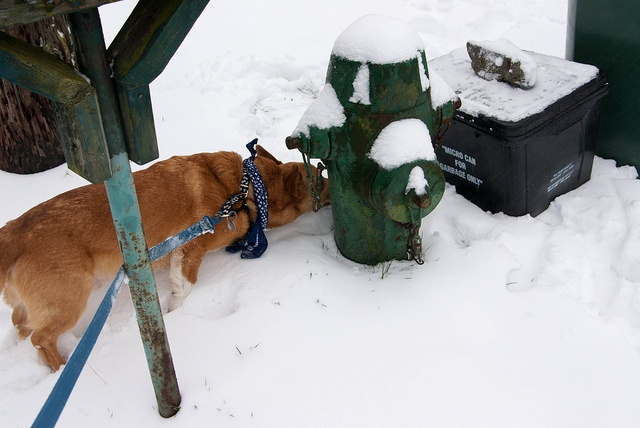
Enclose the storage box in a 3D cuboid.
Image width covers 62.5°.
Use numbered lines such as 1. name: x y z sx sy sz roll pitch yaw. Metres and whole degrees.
1. storage box: 2.140 -1.069 6.315 1.651 1.326 2.119 -23 32 -12
